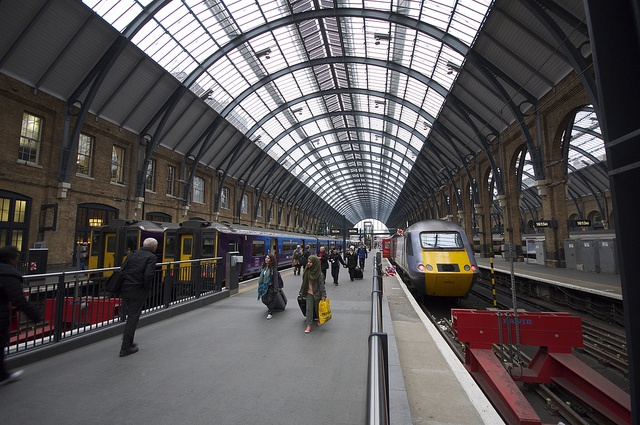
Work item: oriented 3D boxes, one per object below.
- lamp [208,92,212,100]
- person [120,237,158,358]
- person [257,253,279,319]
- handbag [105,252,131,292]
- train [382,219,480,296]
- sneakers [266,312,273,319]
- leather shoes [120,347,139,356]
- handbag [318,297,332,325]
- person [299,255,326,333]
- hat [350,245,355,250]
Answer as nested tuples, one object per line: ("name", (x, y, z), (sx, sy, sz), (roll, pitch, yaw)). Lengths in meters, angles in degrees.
("lamp", (-8.966, -9.440, 27.415), (0.305, 0.531, 1.154), (2, 11, -14))
("person", (-4.695, 2.102, 8.714), (0.829, 2.845, 0.978), (0, 11, -27))
("person", (-1.689, 2.305, 10.921), (0.628, 1.980, 0.688), (6, 10, 8))
("handbag", (-5.218, 1.698, 8.662), (0.570, 1.063, 0.484), (13, 13, 38))
("train", (5.052, 2.135, 14.362), (2.868, 3.297, 1.752), (11, 11, 29))
("sneakers", (-1.611, 3.266, 10.818), (0.172, 0.177, 0.231), (4, 10, -6))
("leather shoes", (-4.791, 3.449, 8.454), (0.432, 0.189, 0.159), (-5, 2, -34))
("handbag", (0.126, 2.938, 10.099), (0.351, 0.872, 0.791), (-5, -9, 23))
("person", (-0.207, 2.349, 10.021), (0.653, 2.198, 0.750), (1, 11, -23))
("hat", (1.803, 1.875, 18.497), (0.219, 0.204, 0.321), (-10, 0, -30))
